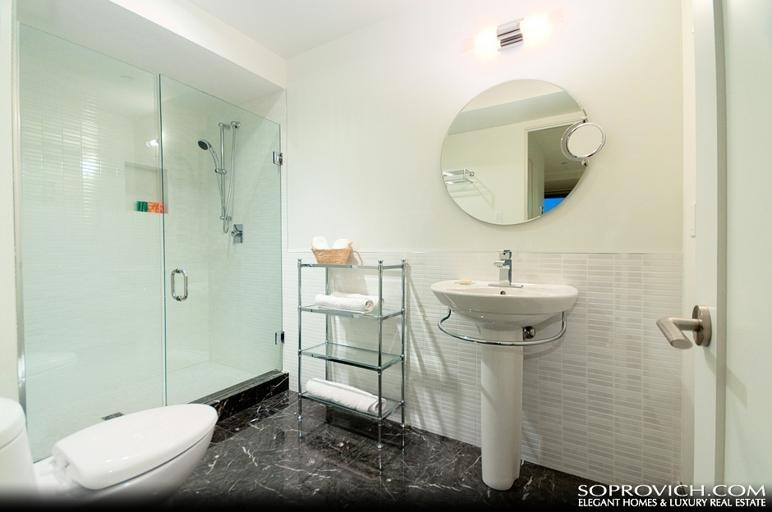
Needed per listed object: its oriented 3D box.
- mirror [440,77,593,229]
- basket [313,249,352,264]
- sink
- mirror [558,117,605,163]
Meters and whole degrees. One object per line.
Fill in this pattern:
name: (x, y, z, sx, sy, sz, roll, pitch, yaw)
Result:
mirror: (0.807, -0.609, 2.938, 0.948, 0.891, 0.037, 6, 5, 30)
basket: (-0.360, 0.009, 3.406, 0.168, 0.061, 0.133, -2, -2, 18)
sink: (0.639, 0.256, 2.749, 0.769, 0.229, 0.456, 4, 14, 14)
mirror: (1.073, -0.654, 2.807, 0.246, 0.229, 0.055, -10, 9, 16)
